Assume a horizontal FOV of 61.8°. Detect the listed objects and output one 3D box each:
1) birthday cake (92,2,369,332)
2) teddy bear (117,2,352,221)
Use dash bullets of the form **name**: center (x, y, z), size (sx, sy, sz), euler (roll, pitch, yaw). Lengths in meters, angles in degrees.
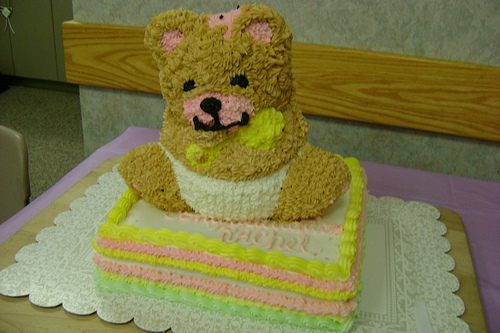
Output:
- **birthday cake**: center (-0.147, 0.002, 1.712), size (1.131, 1.153, 0.968), euler (6, 31, 14)
- **teddy bear**: center (-0.017, -0.206, 1.512), size (0.867, 0.777, 0.481), euler (2, 27, 10)
